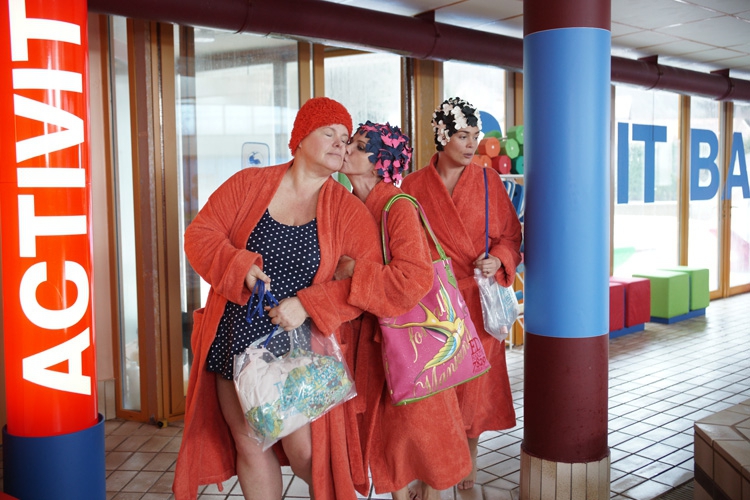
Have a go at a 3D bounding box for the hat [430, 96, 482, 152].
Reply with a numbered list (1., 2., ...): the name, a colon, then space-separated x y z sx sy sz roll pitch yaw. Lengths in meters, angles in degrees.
1. hat: 0.465 -0.726 3.706 0.275 0.289 0.287 -8 11 -30

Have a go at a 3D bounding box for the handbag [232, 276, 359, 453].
1. handbag: -0.362 0.483 2.803 0.513 0.661 0.219 -30 3 -27

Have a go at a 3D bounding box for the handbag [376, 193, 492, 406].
1. handbag: 0.277 0.332 3.066 0.544 0.717 0.252 -9 10 -44

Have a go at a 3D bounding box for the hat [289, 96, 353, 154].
1. hat: -0.240 -0.586 3.024 0.268 0.266 0.223 0 4 0
